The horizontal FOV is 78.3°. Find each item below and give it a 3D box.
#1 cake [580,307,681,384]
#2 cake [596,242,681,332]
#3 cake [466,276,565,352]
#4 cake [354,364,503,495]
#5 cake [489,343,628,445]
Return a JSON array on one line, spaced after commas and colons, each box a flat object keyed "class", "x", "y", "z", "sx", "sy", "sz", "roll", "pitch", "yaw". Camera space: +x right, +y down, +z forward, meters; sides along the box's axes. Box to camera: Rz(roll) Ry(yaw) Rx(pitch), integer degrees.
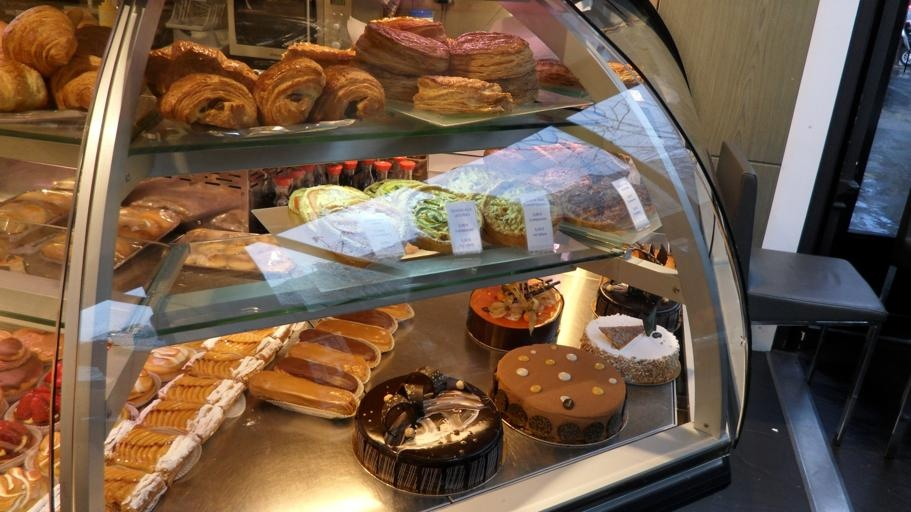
[{"class": "cake", "x": 0.711, "y": 0.359, "z": 2.304, "sx": 0.410, "sy": 0.113, "sz": 0.350, "roll": 0, "pitch": 31, "yaw": -8}, {"class": "cake", "x": 0.696, "y": 0.117, "z": 2.117, "sx": 0.291, "sy": 0.234, "sz": 0.261, "roll": 18, "pitch": 38, "yaw": 22}, {"class": "cake", "x": 0.248, "y": 0.235, "z": 2.369, "sx": 0.393, "sy": 0.148, "sz": 0.347, "roll": 15, "pitch": 39, "yaw": 16}, {"class": "cake", "x": -0.090, "y": 0.583, "z": 1.831, "sx": 0.484, "sy": 0.179, "sz": 0.414, "roll": 9, "pitch": 32, "yaw": 3}, {"class": "cake", "x": 0.388, "y": 0.485, "z": 2.086, "sx": 0.458, "sy": 0.124, "sz": 0.427, "roll": -17, "pitch": 34, "yaw": -30}]
